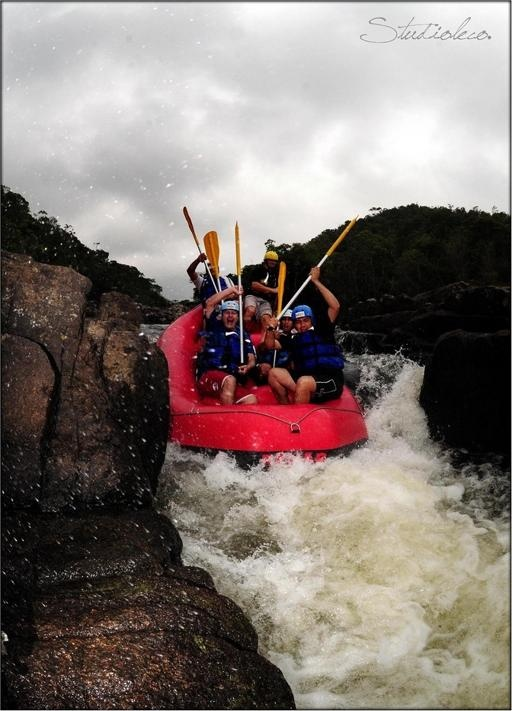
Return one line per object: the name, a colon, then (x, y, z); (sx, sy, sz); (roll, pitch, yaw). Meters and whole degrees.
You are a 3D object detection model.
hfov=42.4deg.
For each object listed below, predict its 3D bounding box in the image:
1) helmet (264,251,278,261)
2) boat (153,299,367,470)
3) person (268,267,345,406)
helmet: (0.174, -1.099, 7.271); (0.116, 0.090, 0.079); (-7, 37, -3)
boat: (-0.099, 0.326, 6.157); (1.767, 0.636, 2.259); (-3, 20, -23)
person: (0.351, -0.080, 5.951); (0.884, 1.275, 0.609); (-3, 1, 0)
